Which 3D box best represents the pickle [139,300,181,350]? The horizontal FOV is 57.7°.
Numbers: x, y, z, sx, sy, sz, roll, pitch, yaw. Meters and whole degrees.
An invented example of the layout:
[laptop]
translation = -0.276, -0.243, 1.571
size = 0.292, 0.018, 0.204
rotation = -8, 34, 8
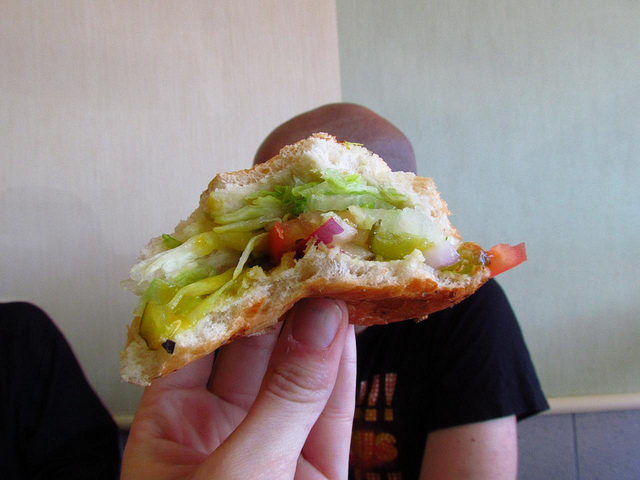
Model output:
[pickle]
translation = -0.990, 0.529, 3.586
size = 0.251, 0.286, 0.111
rotation = 1, 4, -11
